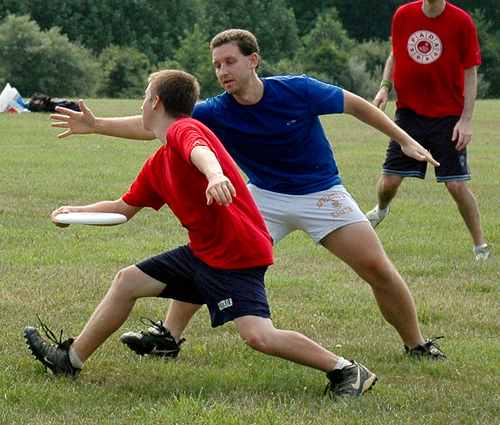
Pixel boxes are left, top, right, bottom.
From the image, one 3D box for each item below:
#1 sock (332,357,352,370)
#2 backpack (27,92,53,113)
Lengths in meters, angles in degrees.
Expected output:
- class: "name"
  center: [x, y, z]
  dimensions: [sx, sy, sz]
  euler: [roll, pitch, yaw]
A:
- class: "sock"
  center: [0.754, 1.240, 7.479]
  dimensions: [0.121, 0.085, 0.094]
  euler: [-33, -7, 30]
- class: "backpack"
  center: [-6.161, -3.171, 26.271]
  dimensions: [0.514, 0.269, 0.645]
  euler: [9, -1, -32]
